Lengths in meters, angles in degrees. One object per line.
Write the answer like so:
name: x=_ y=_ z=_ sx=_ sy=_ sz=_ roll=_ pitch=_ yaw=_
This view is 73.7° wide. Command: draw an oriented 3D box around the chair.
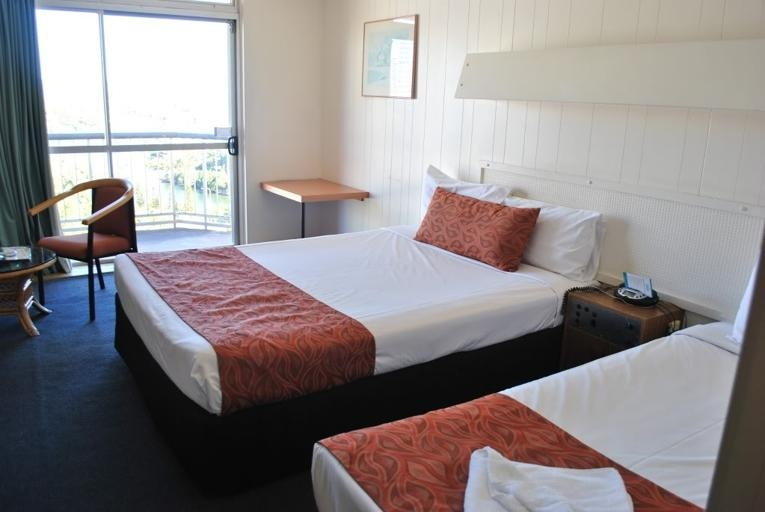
chair: x=-2.573 y=-0.116 z=4.473 sx=0.786 sy=1.053 sz=0.689 roll=6 pitch=14 yaw=11

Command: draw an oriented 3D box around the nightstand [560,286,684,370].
nightstand: x=1.465 y=0.420 z=3.064 sx=0.282 sy=0.537 sz=0.366 roll=-13 pitch=23 yaw=-29

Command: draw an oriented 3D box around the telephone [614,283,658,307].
telephone: x=1.583 y=0.247 z=3.187 sx=0.153 sy=0.057 sz=0.134 roll=20 pitch=20 yaw=25

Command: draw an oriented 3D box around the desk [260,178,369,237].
desk: x=-0.755 y=-0.725 z=5.433 sx=0.773 sy=0.845 sz=0.864 roll=-9 pitch=23 yaw=-30

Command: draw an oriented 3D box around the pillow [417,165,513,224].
pillow: x=0.678 y=-0.492 z=4.032 sx=0.118 sy=0.305 sz=0.483 roll=18 pitch=3 yaw=-45

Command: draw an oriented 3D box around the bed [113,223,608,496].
bed: x=-0.118 y=0.518 z=3.015 sx=2.141 sy=0.522 sz=1.623 roll=-9 pitch=19 yaw=-28

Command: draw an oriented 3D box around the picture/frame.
picture/frame: x=0.035 y=-1.869 z=4.822 sx=0.023 sy=0.713 sz=0.841 roll=20 pitch=31 yaw=33
